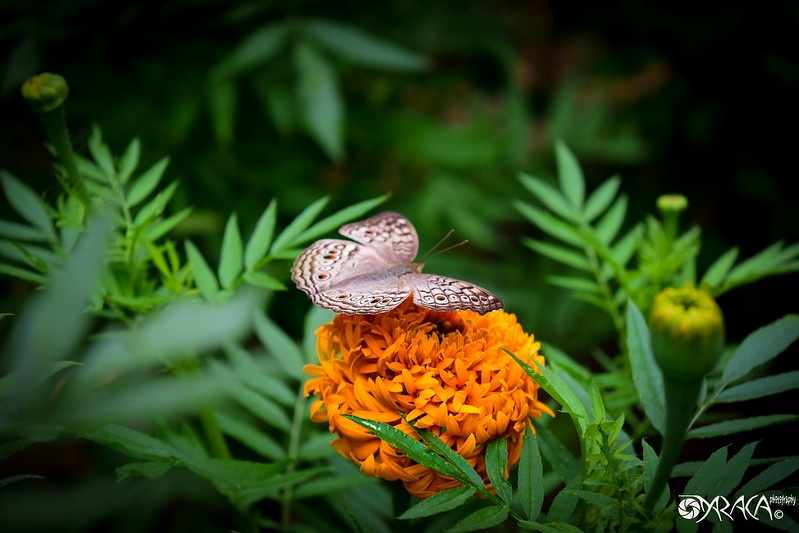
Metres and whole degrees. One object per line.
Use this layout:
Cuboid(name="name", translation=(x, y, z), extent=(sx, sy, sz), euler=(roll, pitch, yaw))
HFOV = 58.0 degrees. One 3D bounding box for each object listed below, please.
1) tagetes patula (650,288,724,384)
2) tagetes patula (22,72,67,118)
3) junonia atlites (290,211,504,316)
Cuboid(name="tagetes patula", translation=(0.520, 0.122, 1.323), extent=(0.100, 0.108, 0.193), euler=(2, 88, 3))
Cuboid(name="tagetes patula", translation=(-0.731, -0.347, 1.504), extent=(0.090, 0.097, 0.098), euler=(19, 32, 38))
Cuboid(name="junonia atlites", translation=(0.058, -0.045, 1.681), extent=(0.342, 0.496, 0.276), euler=(-8, 95, -37))
